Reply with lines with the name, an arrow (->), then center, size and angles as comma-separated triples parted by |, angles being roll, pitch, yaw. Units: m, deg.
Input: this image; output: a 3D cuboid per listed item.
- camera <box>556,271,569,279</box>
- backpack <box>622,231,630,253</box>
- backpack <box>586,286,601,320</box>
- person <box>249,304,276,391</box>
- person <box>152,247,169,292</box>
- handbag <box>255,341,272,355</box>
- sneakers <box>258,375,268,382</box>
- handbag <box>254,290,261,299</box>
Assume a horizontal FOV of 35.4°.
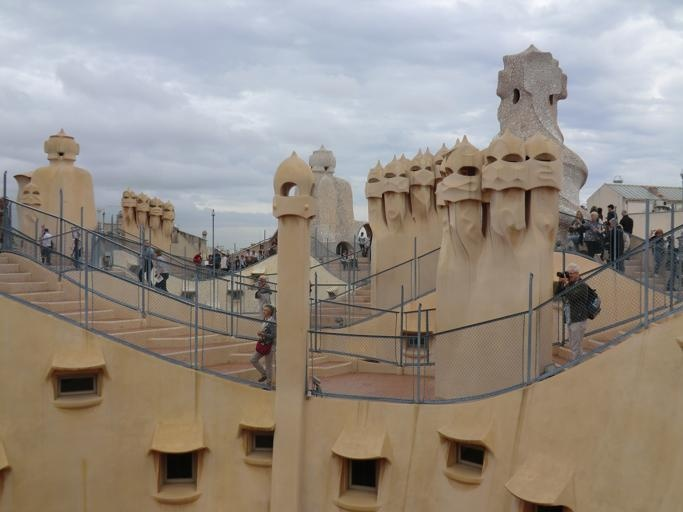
camera -> 4.545, 0.395, 21.838 | 0.212, 0.166, 0.230 | 1, 0, -1
backpack -> 6.418, -0.343, 23.993 | 0.126, 0.373, 0.251 | 0, 0, -21
backpack -> 4.974, 0.907, 21.048 | 0.217, 0.618, 0.407 | -2, -14, 13
person -> -1.658, 1.963, 22.857 | 0.495, 1.772, 1.238 | 2, -14, -5
person -> -4.330, 0.254, 25.753 | 0.380, 1.224, 1.966 | 3, -15, -9
handbag -> -1.634, 1.947, 22.508 | 0.403, 0.470, 0.234 | 4, -4, -5
sneakers -> -1.679, 2.644, 22.899 | 0.242, 0.196, 0.093 | 5, -6, -16
handbag -> -1.897, 0.895, 24.345 | 0.138, 0.288, 0.199 | 0, 0, -1
